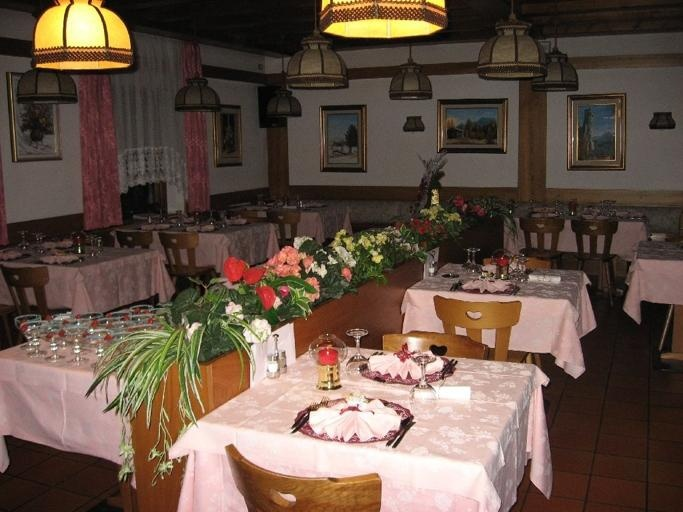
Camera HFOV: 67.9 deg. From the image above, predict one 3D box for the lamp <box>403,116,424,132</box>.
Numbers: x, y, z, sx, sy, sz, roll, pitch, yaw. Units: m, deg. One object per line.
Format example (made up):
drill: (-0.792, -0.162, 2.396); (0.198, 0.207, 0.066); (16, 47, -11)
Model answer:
lamp: (1.456, -2.652, 10.215); (0.409, 0.336, 0.571); (2, 11, 11)

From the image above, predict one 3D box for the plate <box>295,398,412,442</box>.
plate: (0.053, 0.625, 1.922); (0.221, 0.055, 0.226); (-5, 9, -29)

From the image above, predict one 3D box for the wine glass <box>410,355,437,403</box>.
wine glass: (0.369, 0.508, 2.295); (0.102, 0.164, 0.307); (1, 11, 8)

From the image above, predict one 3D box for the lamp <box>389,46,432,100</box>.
lamp: (0.824, -2.151, 6.228); (0.564, 0.843, 0.604); (-1, 12, -1)

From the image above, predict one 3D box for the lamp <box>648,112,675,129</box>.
lamp: (5.560, -2.337, 8.799); (0.371, 0.297, 0.427); (7, 14, 34)

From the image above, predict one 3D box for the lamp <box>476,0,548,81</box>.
lamp: (1.277, -1.587, 3.804); (0.454, 0.470, 0.511); (8, 14, 38)

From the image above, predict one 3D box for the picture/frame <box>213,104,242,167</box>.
picture/frame: (-2.357, -2.476, 10.541); (0.156, 1.258, 0.964); (3, 12, 19)

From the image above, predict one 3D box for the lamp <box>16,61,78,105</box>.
lamp: (-2.802, -1.606, 4.832); (0.519, 0.352, 0.537); (-5, 10, -19)

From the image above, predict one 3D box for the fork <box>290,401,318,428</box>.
fork: (-0.152, 0.632, 2.025); (0.034, 0.026, 0.170); (7, 16, 23)
